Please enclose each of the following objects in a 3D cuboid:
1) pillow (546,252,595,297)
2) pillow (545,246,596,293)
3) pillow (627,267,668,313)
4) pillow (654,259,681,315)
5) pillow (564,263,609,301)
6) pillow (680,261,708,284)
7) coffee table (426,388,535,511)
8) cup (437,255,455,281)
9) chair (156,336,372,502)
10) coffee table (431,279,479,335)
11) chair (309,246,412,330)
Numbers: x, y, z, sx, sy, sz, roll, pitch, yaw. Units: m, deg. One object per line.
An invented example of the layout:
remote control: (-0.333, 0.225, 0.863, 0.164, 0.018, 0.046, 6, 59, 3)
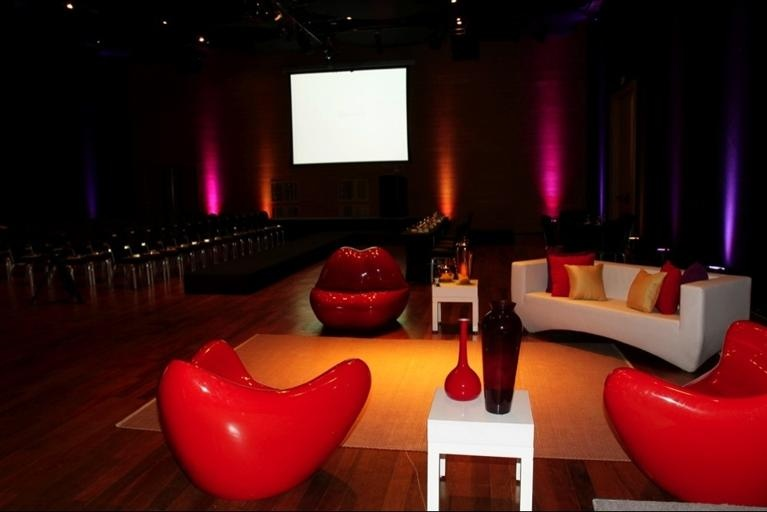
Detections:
pillow: (1.995, 0.206, 5.159, 0.438, 0.430, 0.233, -3, 2, -29)
pillow: (2.067, 0.253, 5.339, 0.540, 0.542, 0.301, 4, 2, -19)
pillow: (2.536, 0.336, 4.727, 0.207, 0.354, 0.404, -4, 6, -3)
pillow: (2.764, 0.357, 4.724, 0.239, 0.465, 0.547, -10, -17, 20)
pillow: (2.101, 0.278, 5.080, 0.355, 0.350, 0.131, 0, -22, 0)
pillow: (3.131, 0.164, 4.870, 0.133, 0.257, 0.247, 5, 1, -2)
coffee table: (0.568, 1.117, 2.979, 0.603, 0.601, 0.641, 0, 1, 8)
cup: (0.745, 0.159, 5.728, 0.224, 0.383, 0.239, -1, -3, 0)
chair: (-0.676, 0.851, 2.905, 0.995, 0.647, 0.937, 2, 2, 32)
coffee table: (0.809, 0.590, 5.703, 0.565, 0.608, 0.583, 0, 0, 5)
chair: (-0.279, 0.412, 5.909, 0.971, 0.852, 1.002, -2, 2, 4)
